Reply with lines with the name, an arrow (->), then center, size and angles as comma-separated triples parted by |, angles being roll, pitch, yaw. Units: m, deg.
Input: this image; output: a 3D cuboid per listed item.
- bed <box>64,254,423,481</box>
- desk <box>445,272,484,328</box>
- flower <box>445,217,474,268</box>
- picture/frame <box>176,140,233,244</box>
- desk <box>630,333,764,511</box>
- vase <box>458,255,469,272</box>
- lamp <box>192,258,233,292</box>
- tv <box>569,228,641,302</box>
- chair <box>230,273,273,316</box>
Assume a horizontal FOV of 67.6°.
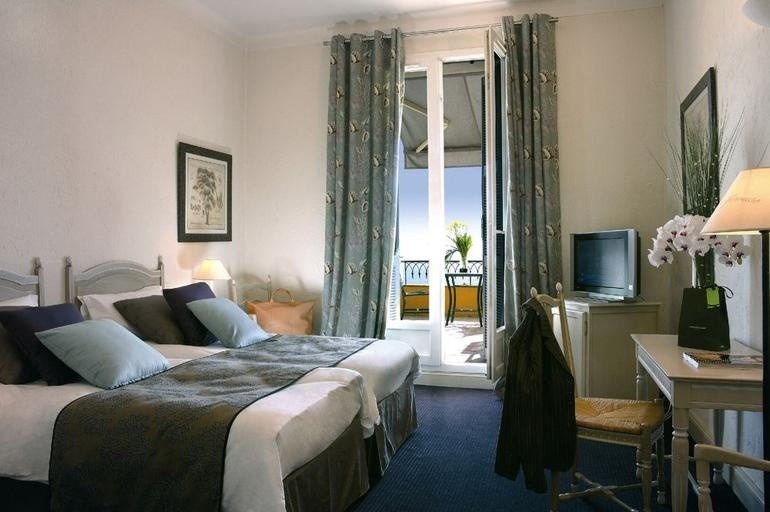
bed -> -1.215, 0.840, 5.184 | 2.755, 1.473, 1.751 | 4, 2, 11
desk -> 1.246, 0.725, 9.558 | 0.771, 1.001, 0.805 | 0, -5, 5
flower -> 1.234, -0.149, 9.473 | 0.430, 0.794, 0.790 | 0, 9, 7
picture/frame -> -1.923, -0.659, 6.097 | 0.069, 1.047, 0.837 | 3, 10, 23
desk -> 2.009, 1.069, 3.686 | 0.421, 0.570, 1.229 | -1, 0, 5
vase -> 1.303, 0.132, 9.324 | 0.200, 0.355, 0.203 | -1, 1, 24
lamp -> -1.788, 0.181, 5.942 | 0.338, 0.364, 0.333 | 0, 3, -2
tv -> 2.161, 0.084, 5.557 | 0.272, 0.665, 0.753 | -1, 1, -30
chair -> -1.522, 0.406, 6.571 | 0.454, 0.453, 0.346 | -7, -7, 32
